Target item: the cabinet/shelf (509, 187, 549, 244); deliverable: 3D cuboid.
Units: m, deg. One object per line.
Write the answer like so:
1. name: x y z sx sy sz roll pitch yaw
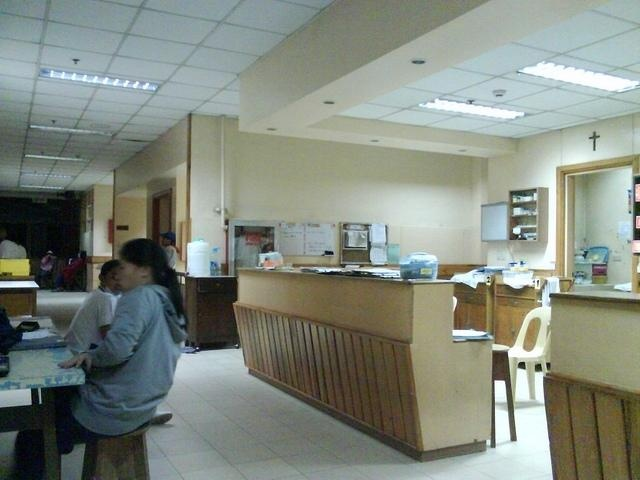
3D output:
1. cabinet/shelf: 3.519 -0.432 8.502 0.299 0.891 0.690 0 1 -41

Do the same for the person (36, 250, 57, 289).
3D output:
1. person: -10.043 1.071 18.283 0.620 1.342 0.498 6 20 -36

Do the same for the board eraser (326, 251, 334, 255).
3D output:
1. board eraser: 0.175 0.246 8.915 0.100 0.066 0.022 -1 -7 -12

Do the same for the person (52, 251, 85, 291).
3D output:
1. person: -8.786 1.127 17.688 0.821 1.118 0.920 15 -8 -42

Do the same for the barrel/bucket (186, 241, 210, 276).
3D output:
1. barrel/bucket: -1.907 0.294 7.915 0.363 0.574 0.460 0 1 -13

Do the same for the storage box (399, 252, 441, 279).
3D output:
1. storage box: 0.810 0.224 4.076 0.234 0.170 0.231 4 -5 -31

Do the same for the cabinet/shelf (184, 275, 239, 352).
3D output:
1. cabinet/shelf: -1.707 1.153 7.926 0.851 1.159 0.480 0 1 -14

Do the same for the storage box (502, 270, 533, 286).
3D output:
1. storage box: 2.921 0.576 7.357 0.393 0.221 0.640 1 1 21
